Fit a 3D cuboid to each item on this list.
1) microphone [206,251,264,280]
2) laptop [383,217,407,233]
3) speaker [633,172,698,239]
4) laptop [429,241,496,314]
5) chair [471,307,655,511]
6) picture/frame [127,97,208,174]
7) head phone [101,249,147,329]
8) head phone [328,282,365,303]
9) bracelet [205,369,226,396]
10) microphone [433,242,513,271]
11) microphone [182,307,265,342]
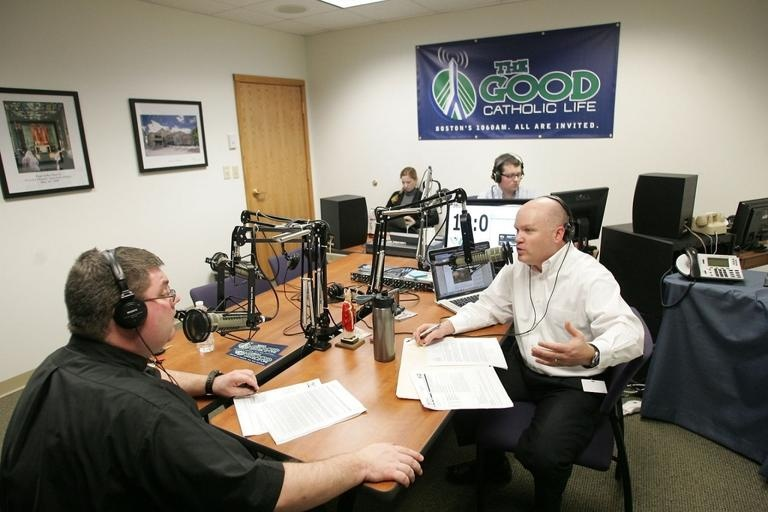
[{"bbox_3d":[-0.977,0.064,3.252,0.172,0.195,0.556,3,3,-44],"label":"microphone"},{"bbox_3d":[0.130,-0.325,5.311,0.182,0.159,0.234,-3,13,2],"label":"laptop"},{"bbox_3d":[2.114,-0.371,3.869,0.384,0.467,0.172,2,15,23],"label":"speaker"},{"bbox_3d":[0.489,0.141,3.459,0.520,0.399,0.411,-10,12,-18],"label":"laptop"},{"bbox_3d":[0.921,0.812,3.423,1.189,1.543,0.983,1,14,10],"label":"chair"},{"bbox_3d":[-2.201,-1.202,5.071,0.052,0.669,0.776,6,15,37],"label":"picture/frame"},{"bbox_3d":[-1.199,0.125,2.313,0.130,0.336,0.368,-20,19,-27],"label":"head phone"},{"bbox_3d":[-0.274,0.235,3.468,0.142,0.086,0.197,-1,4,-26],"label":"head phone"},{"bbox_3d":[-0.837,0.646,2.603,0.080,0.115,0.124,5,-7,3],"label":"bracelet"},{"bbox_3d":[0.546,0.012,3.105,0.410,0.137,0.120,-7,-16,19],"label":"microphone"},{"bbox_3d":[-0.896,0.374,2.919,0.178,0.178,0.461,-14,-11,33],"label":"microphone"}]
